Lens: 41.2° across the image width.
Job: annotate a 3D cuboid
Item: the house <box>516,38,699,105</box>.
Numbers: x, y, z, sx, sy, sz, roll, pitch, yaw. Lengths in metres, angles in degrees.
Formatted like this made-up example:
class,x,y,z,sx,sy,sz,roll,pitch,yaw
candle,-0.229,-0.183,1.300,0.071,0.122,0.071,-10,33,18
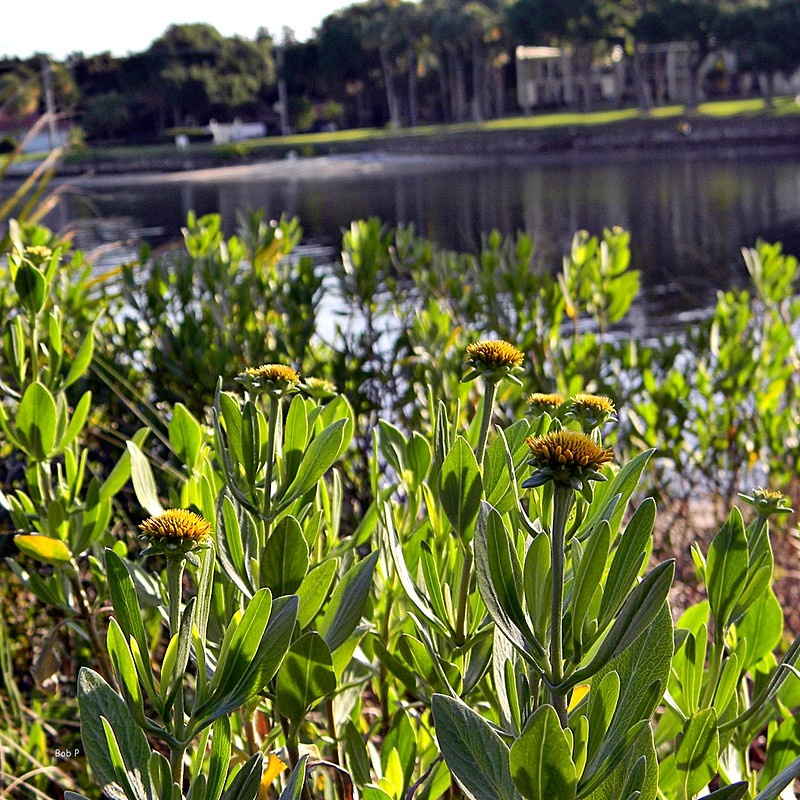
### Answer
class,x,y,z,sx,sy,sz,roll,pitch,yaw
house,2.915,-4.605,15.207,2.477,1.120,1.019,-7,7,9
